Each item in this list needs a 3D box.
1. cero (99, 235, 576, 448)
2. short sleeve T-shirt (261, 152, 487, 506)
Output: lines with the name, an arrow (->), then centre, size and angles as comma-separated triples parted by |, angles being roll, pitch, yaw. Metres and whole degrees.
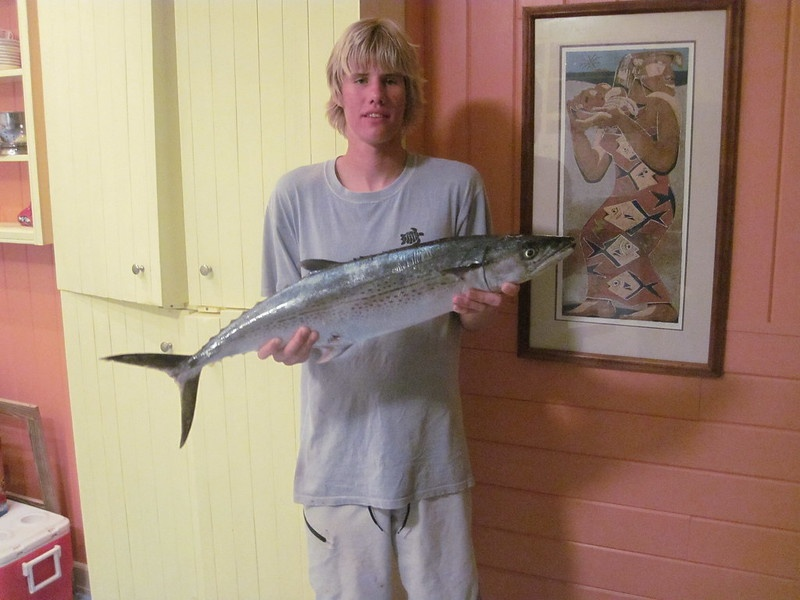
cero -> -0.115, 0.029, 2.323 | 1.339, 0.428, 0.308 | -17, 34, -6
short sleeve T-shirt -> -0.070, 0.132, 2.655 | 0.563, 1.171, 0.652 | 12, 18, 31
